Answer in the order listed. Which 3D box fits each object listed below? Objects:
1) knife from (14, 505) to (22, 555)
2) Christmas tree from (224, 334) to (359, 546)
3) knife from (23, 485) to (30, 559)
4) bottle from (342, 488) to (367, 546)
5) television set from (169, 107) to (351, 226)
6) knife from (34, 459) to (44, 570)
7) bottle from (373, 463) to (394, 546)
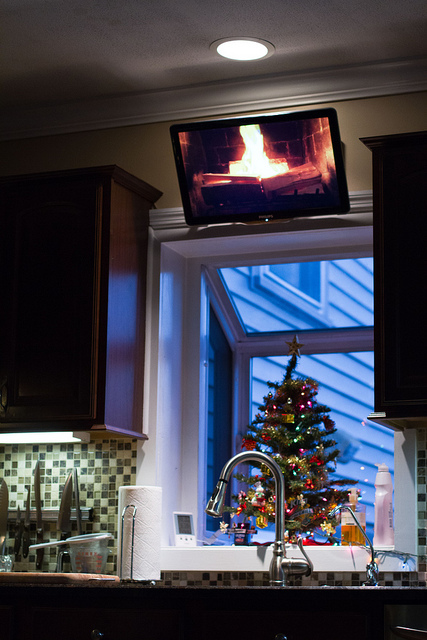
[{"bbox_3d":[-0.678,0.734,2.887,0.020,0.165,0.075,3,-12,-12],"label":"knife"},{"bbox_3d":[0.266,0.401,2.829,0.386,0.621,0.376,-1,4,-37],"label":"Christmas tree"},{"bbox_3d":[-0.647,0.715,2.891,0.022,0.225,0.047,3,-12,-13],"label":"knife"},{"bbox_3d":[0.449,0.632,2.653,0.077,0.180,0.298,-1,-12,8],"label":"bottle"},{"bbox_3d":[0.160,-0.534,2.836,0.600,0.370,0.061,-2,22,19],"label":"television set"},{"bbox_3d":[-0.604,0.653,2.880,0.026,0.277,0.020,-12,-15,24],"label":"knife"},{"bbox_3d":[0.541,0.590,2.654,0.066,0.256,0.100,-2,-12,12],"label":"bottle"}]
